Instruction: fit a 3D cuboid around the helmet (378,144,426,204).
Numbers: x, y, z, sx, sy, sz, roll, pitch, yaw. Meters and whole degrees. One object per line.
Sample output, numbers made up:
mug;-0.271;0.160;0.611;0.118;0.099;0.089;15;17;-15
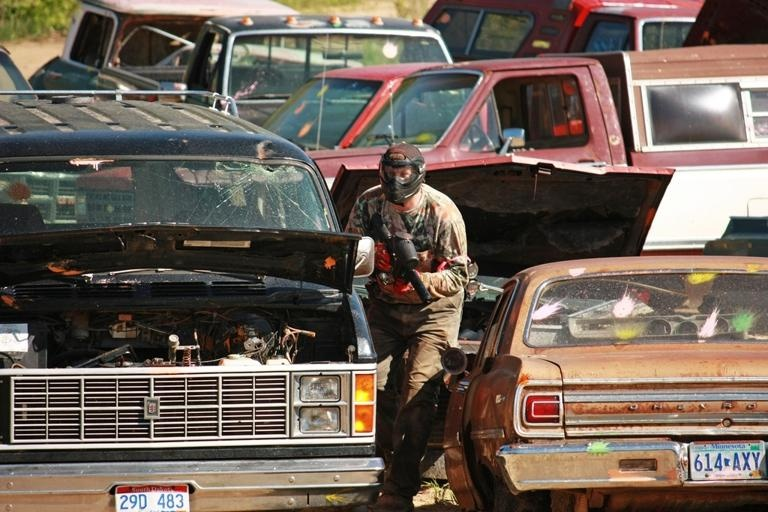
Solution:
helmet;0.128;-0.734;14.832;0.484;0.452;0.531;4;19;4
